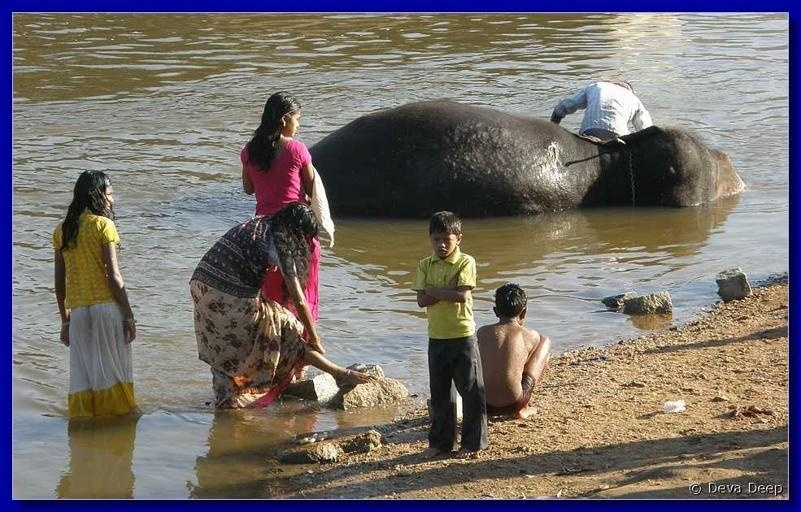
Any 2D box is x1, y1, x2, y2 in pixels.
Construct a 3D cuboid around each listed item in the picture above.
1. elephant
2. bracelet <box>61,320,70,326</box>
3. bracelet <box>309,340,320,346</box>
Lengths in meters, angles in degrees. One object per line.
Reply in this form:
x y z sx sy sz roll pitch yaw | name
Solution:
2.402 -1.280 21.657 7.328 1.123 1.819 3 6 -12 | elephant
-3.724 0.750 16.601 0.082 0.041 0.066 0 -3 -2 | bracelet
-0.978 0.972 16.757 0.105 0.069 0.052 -1 29 12 | bracelet
